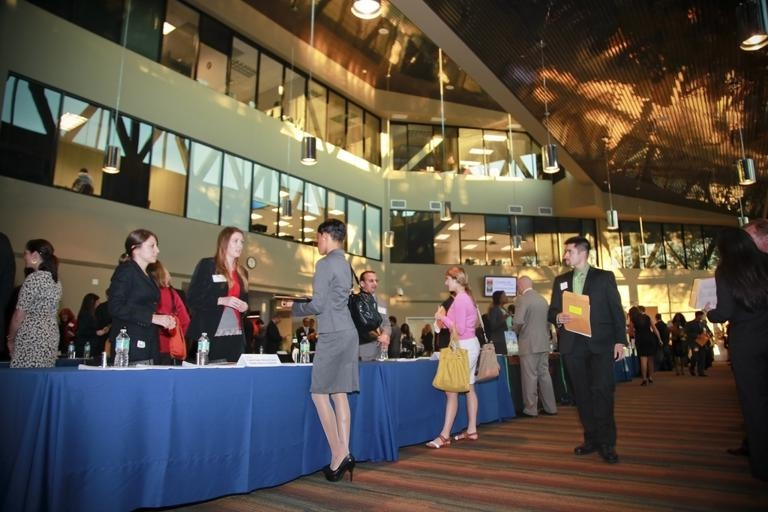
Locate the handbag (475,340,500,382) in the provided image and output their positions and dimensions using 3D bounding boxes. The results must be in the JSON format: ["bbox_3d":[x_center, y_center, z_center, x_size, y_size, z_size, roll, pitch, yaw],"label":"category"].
[{"bbox_3d":[1.253,1.320,6.700,0.325,0.716,0.653,-2,-11,18],"label":"handbag"}]

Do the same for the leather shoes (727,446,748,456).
[{"bbox_3d":[3.633,2.003,5.489,0.169,0.132,0.067,-4,-14,45],"label":"leather shoes"}]

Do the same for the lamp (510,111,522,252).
[{"bbox_3d":[4.282,-2.343,17.556,0.338,4.322,0.716,-2,-6,15],"label":"lamp"}]

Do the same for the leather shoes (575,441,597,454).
[{"bbox_3d":[2.139,2.030,5.633,0.259,0.122,0.096,13,-21,-34],"label":"leather shoes"}]

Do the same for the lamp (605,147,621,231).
[{"bbox_3d":[6.320,-1.940,15.047,0.331,2.325,0.342,-5,-4,22],"label":"lamp"}]

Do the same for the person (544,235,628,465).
[{"bbox_3d":[2.127,0.921,5.663,0.692,2.364,0.708,-5,-9,33],"label":"person"}]

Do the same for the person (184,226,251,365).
[{"bbox_3d":[-1.640,0.368,5.264,0.552,1.333,0.470,1,-6,-16],"label":"person"}]

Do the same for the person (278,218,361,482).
[{"bbox_3d":[-0.586,0.899,5.319,0.858,2.543,0.917,-4,-8,19],"label":"person"}]

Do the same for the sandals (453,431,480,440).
[{"bbox_3d":[0.975,2.168,6.398,0.211,0.088,0.132,2,-9,26],"label":"sandals"}]

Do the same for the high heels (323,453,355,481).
[{"bbox_3d":[-0.425,2.022,5.092,0.286,0.233,0.187,2,-14,1],"label":"high heels"}]

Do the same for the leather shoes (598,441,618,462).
[{"bbox_3d":[2.268,1.987,5.368,0.175,0.166,0.147,-3,-6,18],"label":"leather shoes"}]

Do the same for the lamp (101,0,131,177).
[{"bbox_3d":[-5.014,-3.354,9.996,0.393,3.805,1.246,2,-6,-26],"label":"lamp"}]
